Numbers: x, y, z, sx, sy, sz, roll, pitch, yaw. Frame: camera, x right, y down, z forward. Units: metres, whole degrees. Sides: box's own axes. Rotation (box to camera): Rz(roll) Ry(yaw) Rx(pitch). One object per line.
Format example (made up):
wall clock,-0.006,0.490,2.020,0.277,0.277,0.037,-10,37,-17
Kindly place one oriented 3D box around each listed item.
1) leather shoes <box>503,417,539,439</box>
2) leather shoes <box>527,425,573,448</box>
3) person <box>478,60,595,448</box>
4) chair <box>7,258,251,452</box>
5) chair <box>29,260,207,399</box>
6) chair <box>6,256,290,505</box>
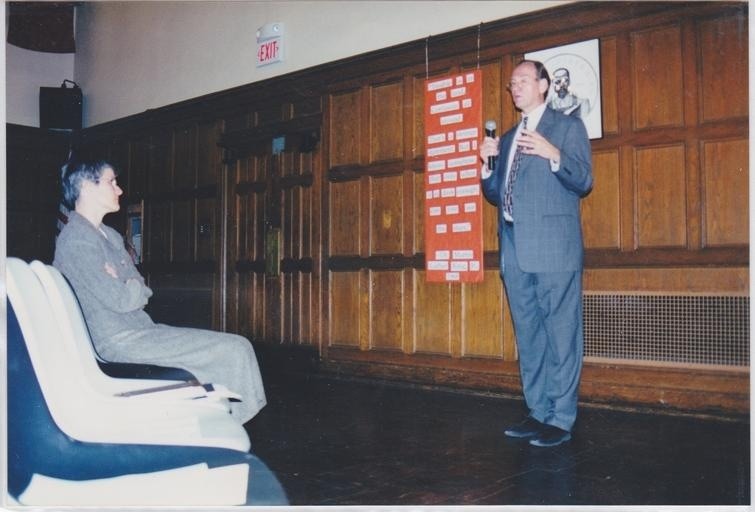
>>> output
leather shoes,0.953,1.142,4.364,0.249,0.102,0.097,1,-4,-28
leather shoes,1.103,1.151,4.224,0.215,0.080,0.116,-8,17,-26
person,1.017,-0.039,4.338,0.706,2.472,0.601,2,8,23
chair,-1.150,0.451,3.184,1.115,0.834,0.774,2,-2,-4
chair,-1.254,0.390,3.424,0.810,0.689,0.527,-2,-3,-12
chair,-1.060,0.648,3.526,1.313,0.966,0.941,1,-1,-5
